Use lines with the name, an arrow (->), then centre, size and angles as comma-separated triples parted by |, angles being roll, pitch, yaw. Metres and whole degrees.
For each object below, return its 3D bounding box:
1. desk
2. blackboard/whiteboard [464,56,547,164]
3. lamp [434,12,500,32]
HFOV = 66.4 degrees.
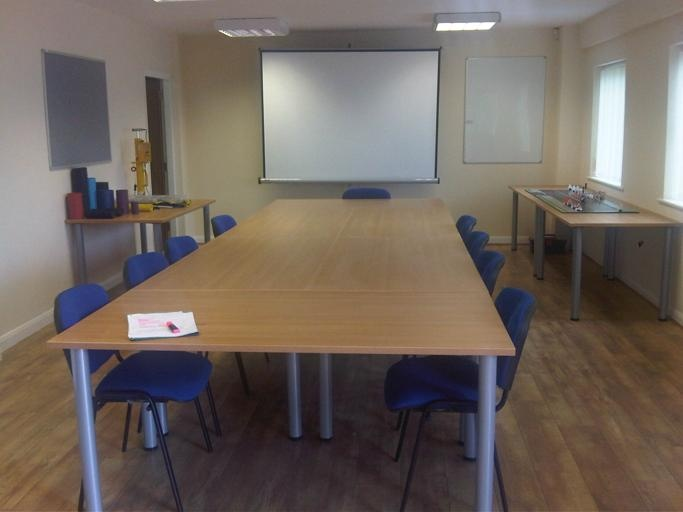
desk -> 2.690, -0.135, 5.847 | 1.086, 0.994, 2.155 | -2, 15, 4
blackboard/whiteboard -> 2.359, -2.186, 7.518 | 1.352, 1.913, 0.152 | 0, 14, 3
lamp -> 1.489, -2.869, 6.337 | 0.756, 0.170, 0.421 | -2, 15, 6
